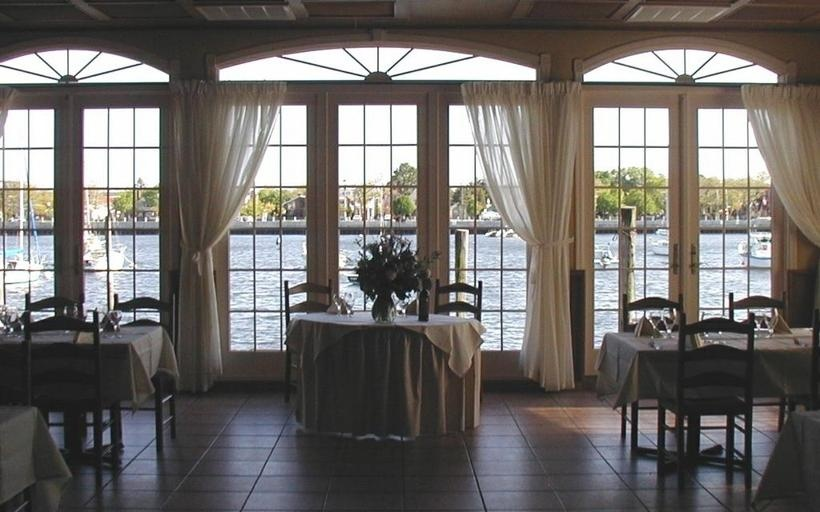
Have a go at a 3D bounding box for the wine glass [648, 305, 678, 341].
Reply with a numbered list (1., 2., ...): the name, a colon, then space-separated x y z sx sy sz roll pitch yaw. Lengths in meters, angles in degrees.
1. wine glass: 2.699 0.716 8.623 0.352 0.505 0.313 -2 -1 18

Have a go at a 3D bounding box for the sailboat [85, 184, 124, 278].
1. sailboat: -3.691 -0.308 9.936 0.508 1.000 0.066 -1 0 4

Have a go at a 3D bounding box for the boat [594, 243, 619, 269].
1. boat: 2.392 0.002 9.972 0.307 0.295 0.109 2 -1 -6

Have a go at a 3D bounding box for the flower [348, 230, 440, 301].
1. flower: -0.160 0.143 8.662 0.721 0.589 0.800 7 -1 35

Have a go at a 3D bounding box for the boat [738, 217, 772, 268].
1. boat: 4.220 -0.109 10.230 0.301 0.371 0.770 0 -3 2
